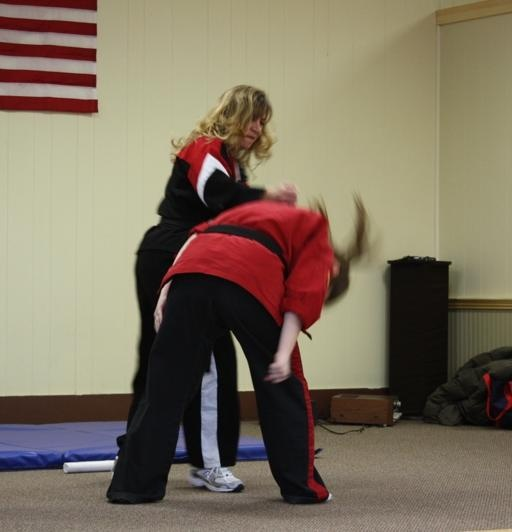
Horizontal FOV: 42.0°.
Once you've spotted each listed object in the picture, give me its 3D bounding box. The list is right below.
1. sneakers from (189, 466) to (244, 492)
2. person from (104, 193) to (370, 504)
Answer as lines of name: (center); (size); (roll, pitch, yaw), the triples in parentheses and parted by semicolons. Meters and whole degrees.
sneakers: (-0.134, 0.728, 2.331); (0.195, 0.084, 0.082); (-4, -7, 33)
person: (-0.094, 0.252, 1.860); (0.631, 0.871, 0.186); (2, 3, 8)
